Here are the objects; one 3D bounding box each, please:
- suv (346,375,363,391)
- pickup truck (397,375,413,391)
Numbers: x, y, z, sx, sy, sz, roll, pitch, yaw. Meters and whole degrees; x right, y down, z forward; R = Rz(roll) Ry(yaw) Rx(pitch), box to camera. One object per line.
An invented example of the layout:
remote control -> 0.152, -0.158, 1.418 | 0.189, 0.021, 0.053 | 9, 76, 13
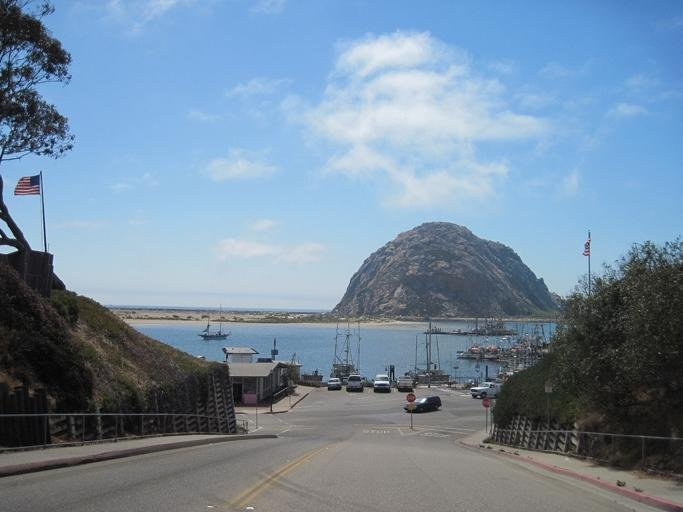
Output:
suv -> 1.460, 13.883, 74.851 | 1.654, 1.617, 2.533 | 1, -3, -4
pickup truck -> 7.026, 14.202, 76.342 | 1.478, 1.370, 2.805 | -1, -10, 2
